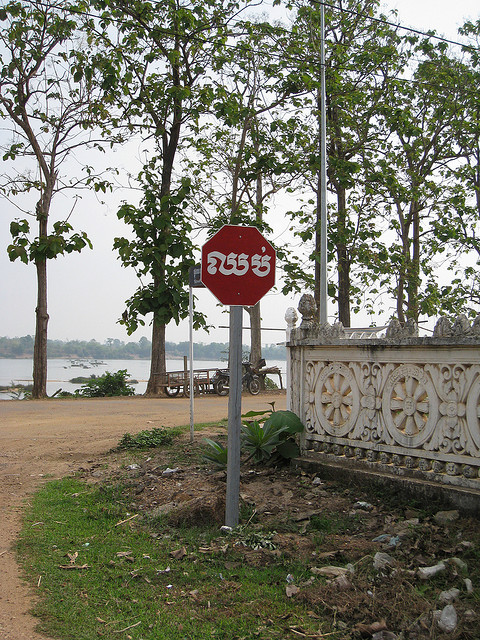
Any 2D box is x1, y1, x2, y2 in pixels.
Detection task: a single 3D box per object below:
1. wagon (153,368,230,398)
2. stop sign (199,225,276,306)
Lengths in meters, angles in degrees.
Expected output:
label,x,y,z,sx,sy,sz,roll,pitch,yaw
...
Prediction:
label,x,y,z,sx,sy,sz,roll,pitch,yaw
wagon,-1.550,1.783,20.220,1.652,0.866,2.805,-5,4,-8
stop sign,-0.014,-0.468,6.376,0.844,0.860,0.061,-2,4,-20
